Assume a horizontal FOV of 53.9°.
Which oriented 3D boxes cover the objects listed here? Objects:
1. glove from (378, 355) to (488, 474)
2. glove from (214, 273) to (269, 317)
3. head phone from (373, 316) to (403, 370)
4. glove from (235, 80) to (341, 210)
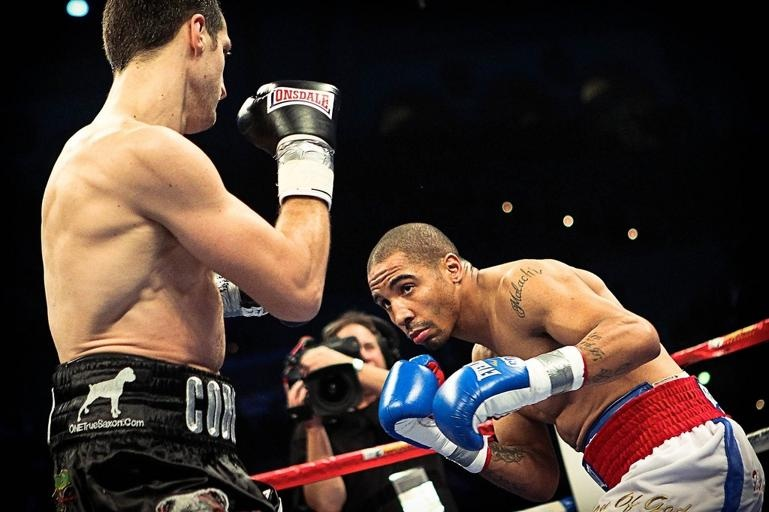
[{"bbox_3d":[0.273,0.903,4.635,0.270,0.684,0.683,-54,-9,8],"label":"glove"},{"bbox_3d":[-0.861,0.304,4.812,0.251,0.092,0.190,14,26,0],"label":"glove"},{"bbox_3d":[0.067,0.719,6.370,0.134,0.358,0.279,3,-6,-28],"label":"head phone"},{"bbox_3d":[-0.559,-0.647,4.468,0.665,0.772,0.420,-2,-21,4],"label":"glove"}]
